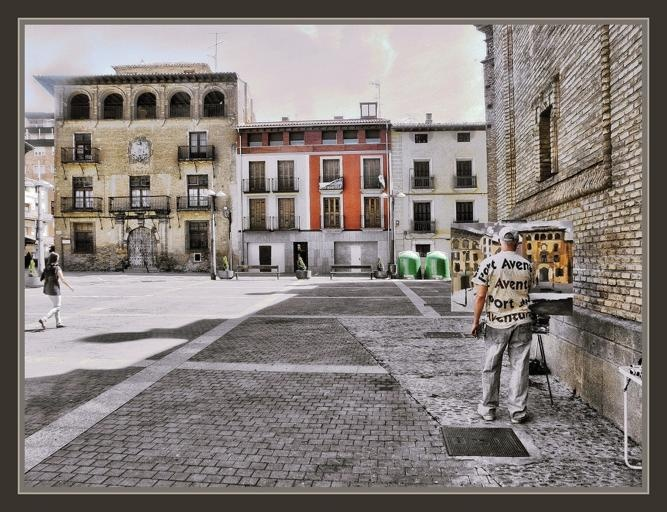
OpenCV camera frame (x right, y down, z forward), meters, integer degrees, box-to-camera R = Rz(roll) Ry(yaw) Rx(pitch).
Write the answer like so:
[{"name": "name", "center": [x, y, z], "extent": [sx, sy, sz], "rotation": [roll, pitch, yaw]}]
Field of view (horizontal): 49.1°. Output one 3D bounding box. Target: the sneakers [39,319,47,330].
[{"name": "sneakers", "center": [-5.264, 1.249, 13.310], "extent": [0.057, 0.191, 0.089], "rotation": [-1, 19, 4]}]

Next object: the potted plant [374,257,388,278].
[{"name": "potted plant", "center": [2.067, 0.576, 30.979], "extent": [0.600, 0.906, 0.860], "rotation": [0, -6, 0]}]

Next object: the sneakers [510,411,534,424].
[{"name": "sneakers", "center": [2.138, 1.814, 8.303], "extent": [0.281, 0.122, 0.102], "rotation": [-7, 12, -33]}]

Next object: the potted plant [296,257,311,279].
[{"name": "potted plant", "center": [-1.293, 0.529, 32.100], "extent": [0.740, 1.437, 0.773], "rotation": [-2, -4, 8]}]

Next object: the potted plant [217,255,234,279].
[{"name": "potted plant", "center": [-4.909, 0.523, 33.344], "extent": [0.850, 1.574, 0.837], "rotation": [0, -2, -1]}]

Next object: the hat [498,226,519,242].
[{"name": "hat", "center": [2.019, -0.243, 8.419], "extent": [0.196, 0.161, 0.335], "rotation": [4, -1, 14]}]

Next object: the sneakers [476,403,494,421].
[{"name": "sneakers", "center": [1.749, 1.777, 8.343], "extent": [0.207, 0.150, 0.234], "rotation": [2, 10, 12]}]

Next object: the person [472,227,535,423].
[{"name": "person", "center": [1.924, 0.786, 8.372], "extent": [0.664, 2.096, 0.657], "rotation": [2, 9, 16]}]
